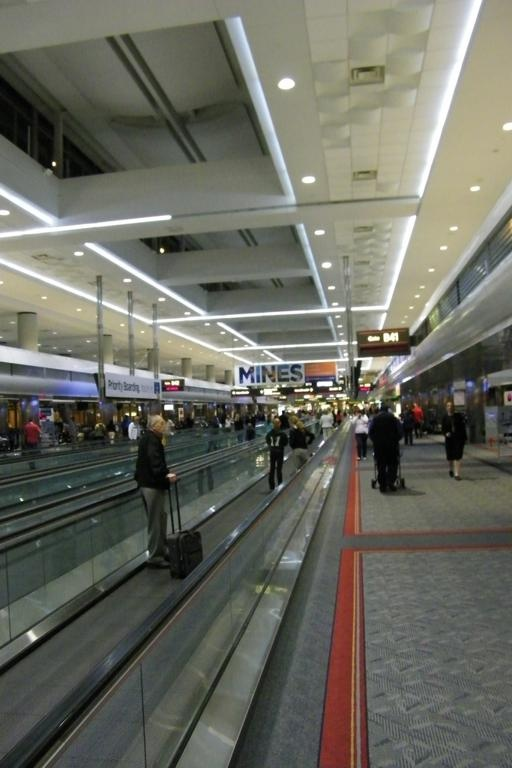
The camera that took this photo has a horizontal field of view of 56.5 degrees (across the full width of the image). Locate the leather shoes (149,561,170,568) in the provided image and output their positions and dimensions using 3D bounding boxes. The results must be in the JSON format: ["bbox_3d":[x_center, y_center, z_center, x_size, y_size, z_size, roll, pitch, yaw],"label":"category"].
[{"bbox_3d":[-1.015,1.925,5.079,0.129,0.056,0.179,2,-7,2],"label":"leather shoes"}]

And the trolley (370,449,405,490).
[{"bbox_3d":[2.492,1.637,8.962,0.643,1.082,0.705,-2,-31,13],"label":"trolley"}]
